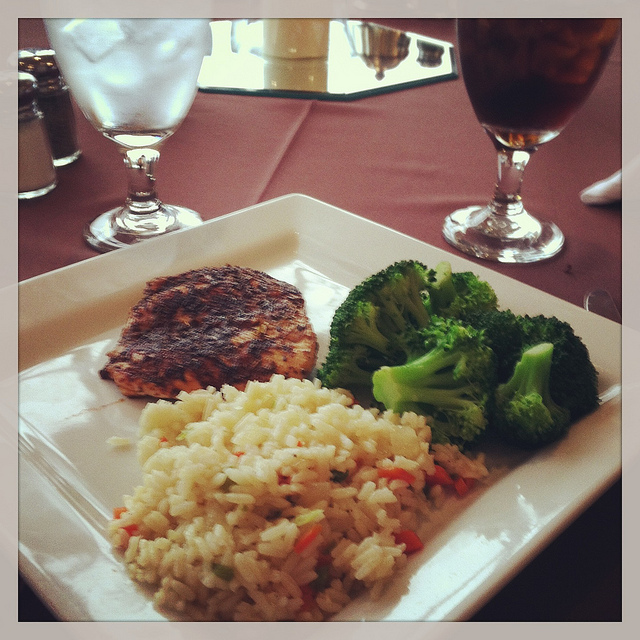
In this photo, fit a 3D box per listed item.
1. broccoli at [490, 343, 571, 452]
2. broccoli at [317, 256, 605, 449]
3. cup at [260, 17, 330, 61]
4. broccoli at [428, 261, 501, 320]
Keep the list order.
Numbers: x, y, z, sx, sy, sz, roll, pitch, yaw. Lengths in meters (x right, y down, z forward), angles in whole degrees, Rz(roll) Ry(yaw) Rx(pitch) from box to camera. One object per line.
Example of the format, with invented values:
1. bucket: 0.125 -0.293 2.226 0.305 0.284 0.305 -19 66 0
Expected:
1. broccoli: 0.327 0.132 0.984 0.122 0.075 0.148 21 59 14
2. broccoli: 0.207 0.066 1.017 0.302 0.174 0.381 -20 31 -37
3. cup: -0.037 -0.457 1.004 0.105 0.071 0.102 1 18 0
4. broccoli: 0.242 -0.045 1.154 0.114 0.093 0.110 -26 66 -38
